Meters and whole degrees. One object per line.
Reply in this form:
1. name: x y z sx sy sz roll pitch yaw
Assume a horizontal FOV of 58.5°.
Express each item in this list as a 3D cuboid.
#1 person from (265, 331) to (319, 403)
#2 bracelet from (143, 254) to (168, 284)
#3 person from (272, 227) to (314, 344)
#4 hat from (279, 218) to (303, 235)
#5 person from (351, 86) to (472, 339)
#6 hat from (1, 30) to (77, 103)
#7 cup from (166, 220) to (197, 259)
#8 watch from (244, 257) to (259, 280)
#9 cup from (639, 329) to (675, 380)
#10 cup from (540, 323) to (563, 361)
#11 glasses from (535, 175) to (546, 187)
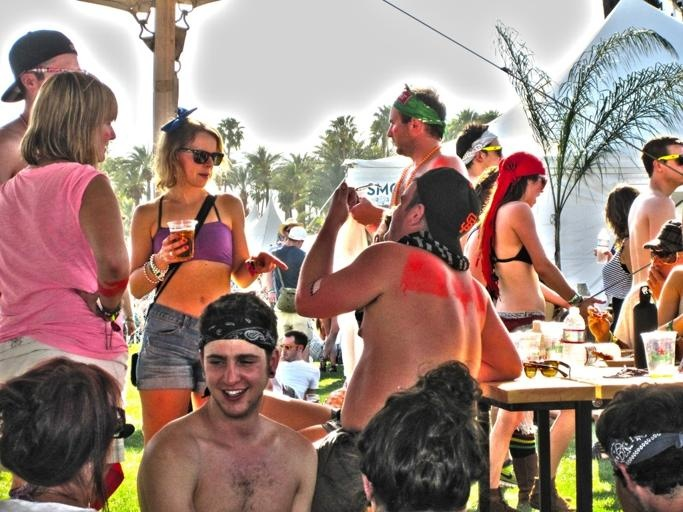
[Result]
1. person: -0.584 1.515 7.362 0.640 1.180 0.604 1 -16 1
2. bracelet: -1.117 0.088 3.690 0.128 0.106 0.166 17 14 -10
3. person: -0.827 0.563 9.886 0.667 2.370 0.657 3 25 -9
4. hat: -0.999 -0.593 11.631 0.330 0.111 0.361 0 -27 -40
5. person: 0.479 -0.088 4.197 0.856 2.173 0.791 2 -3 -19
6. hat: -1.804 -1.164 3.733 0.471 0.281 0.333 -30 8 4
7. cup: -0.904 -0.093 3.526 0.181 0.222 0.199 -2 -6 0
8. watch: -0.579 0.076 3.938 0.045 0.113 0.093 -20 -40 -13
9. cup: 1.850 0.560 3.522 0.231 0.273 0.234 -1 -8 0
10. cup: 1.303 0.513 3.769 0.121 0.248 0.340 -3 -13 23
11. glasses: 1.610 -0.602 4.879 0.071 0.104 0.101 7 28 14
